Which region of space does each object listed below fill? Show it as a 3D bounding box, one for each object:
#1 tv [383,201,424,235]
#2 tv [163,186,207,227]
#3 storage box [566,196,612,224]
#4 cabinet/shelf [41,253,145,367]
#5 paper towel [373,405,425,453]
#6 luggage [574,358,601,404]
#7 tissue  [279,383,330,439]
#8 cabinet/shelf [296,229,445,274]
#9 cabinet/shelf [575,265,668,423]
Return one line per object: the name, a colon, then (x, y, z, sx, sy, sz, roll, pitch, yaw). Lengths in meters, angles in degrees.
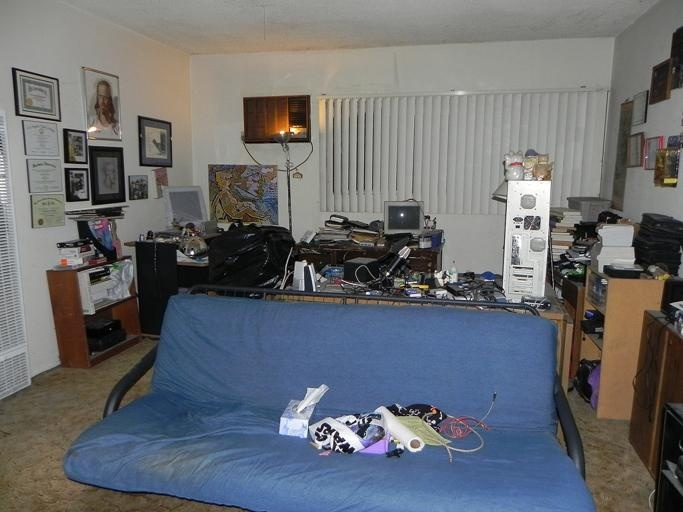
tv: (0.755, -0.461, 5.788, 0.429, 0.397, 0.102, -1, 8, -1)
tv: (-1.886, -0.593, 5.856, 0.065, 0.388, 0.448, -8, 14, 31)
storage box: (2.808, -0.528, 5.508, 0.324, 0.200, 0.320, 0, 7, -3)
cabinet/shelf: (-2.457, 0.525, 4.766, 0.383, 1.096, 0.947, 0, 9, 12)
paper towel: (0.344, 1.051, 2.954, 0.310, 0.199, 0.114, 4, 10, 29)
luggage: (2.087, 1.054, 4.172, 0.295, 0.312, 0.317, -4, -2, 29)
tissue : (-0.249, 0.990, 3.165, 0.178, 0.132, 0.331, 5, 20, 18)
cabinet/shelf: (0.313, -0.049, 5.730, 1.655, 0.406, 0.311, 1, 9, 10)
cabinet/shelf: (2.189, 0.694, 3.781, 0.369, 1.056, 1.116, 3, 8, 11)
